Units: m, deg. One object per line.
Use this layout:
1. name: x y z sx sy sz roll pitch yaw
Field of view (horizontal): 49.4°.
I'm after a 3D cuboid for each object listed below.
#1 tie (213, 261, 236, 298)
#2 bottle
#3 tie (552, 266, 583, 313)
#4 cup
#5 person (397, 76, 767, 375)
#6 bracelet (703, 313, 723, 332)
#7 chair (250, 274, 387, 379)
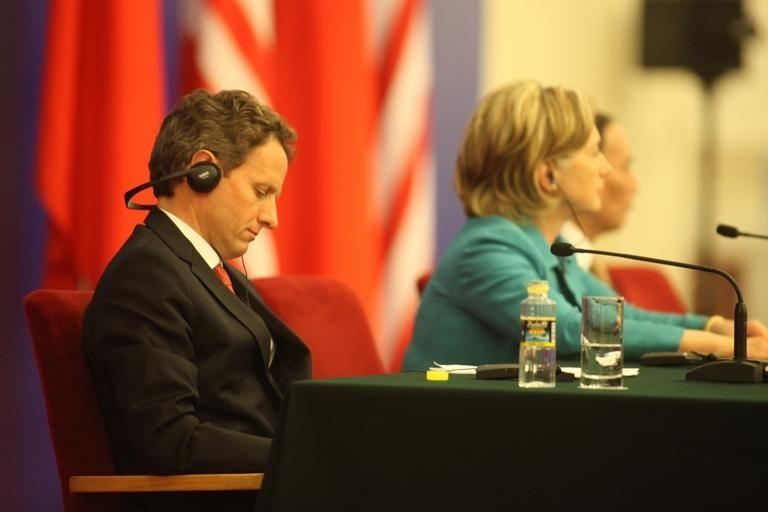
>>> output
1. tie: -0.502 0.073 2.632 0.022 0.099 0.059 -20 -11 22
2. bottle: 0.394 0.197 2.137 0.090 0.260 0.137 0 2 9
3. tie: 0.640 0.105 2.873 0.125 0.134 0.114 -3 0 37
4. cup: 0.556 0.217 2.124 0.100 0.220 0.111 0 2 13
5. person: 0.670 -0.154 3.288 1.159 1.219 0.899 -4 0 3
6. bracelet: 1.178 0.246 2.990 0.020 0.061 0.060 17 -27 7
7. chair: -0.289 0.299 3.171 0.356 0.514 0.383 6 -23 -42
